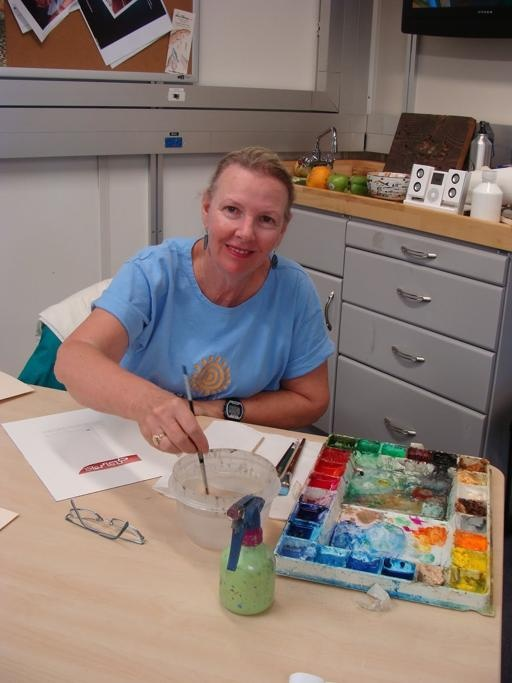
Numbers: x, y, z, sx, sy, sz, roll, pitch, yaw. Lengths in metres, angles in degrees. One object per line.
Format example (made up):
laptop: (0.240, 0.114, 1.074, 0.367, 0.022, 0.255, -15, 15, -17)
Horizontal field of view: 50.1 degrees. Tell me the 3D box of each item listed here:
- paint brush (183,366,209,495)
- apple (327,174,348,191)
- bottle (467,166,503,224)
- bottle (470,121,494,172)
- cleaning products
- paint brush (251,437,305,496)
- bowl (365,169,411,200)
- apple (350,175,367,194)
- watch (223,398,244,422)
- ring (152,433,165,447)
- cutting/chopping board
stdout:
paint brush: (-0.101, 0.143, 0.916, 0.015, 0.184, 0.011, -18, -22, 13)
apple: (0.349, -0.719, 2.475, 0.098, 0.075, 0.071, -10, 23, -36)
bottle: (0.818, -0.523, 1.944, 0.105, 0.191, 0.274, 7, 15, 19)
bottle: (0.995, -0.870, 2.426, 0.098, 0.228, 0.369, 8, 15, 21)
cleaning products: (-0.008, 0.228, 0.632, 0.065, 0.157, 0.116, 1, 14, -3)
paint brush: (0.037, 0.204, 0.893, 0.053, 0.013, 0.093, 6, 26, 12)
bowl: (0.527, -0.639, 2.260, 0.116, 0.112, 0.191, -4, 15, -23)
apple: (0.443, -0.687, 2.398, 0.068, 0.086, 0.146, 1, 14, -3)
watch: (-0.053, 0.156, 1.273, 0.039, 0.055, 0.051, 7, -26, -26)
ring: (-0.144, 0.144, 0.809, 0.011, 0.016, 0.019, 34, 24, -6)
cutting/chopping board: (0.796, -0.940, 2.557, 0.179, 0.300, 0.427, -8, 17, -35)
